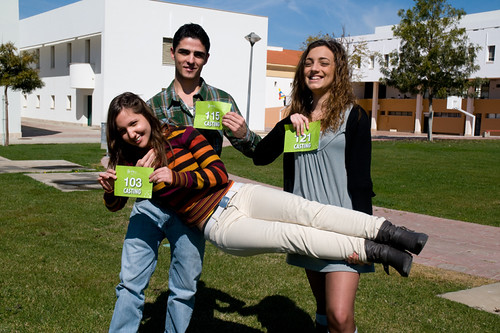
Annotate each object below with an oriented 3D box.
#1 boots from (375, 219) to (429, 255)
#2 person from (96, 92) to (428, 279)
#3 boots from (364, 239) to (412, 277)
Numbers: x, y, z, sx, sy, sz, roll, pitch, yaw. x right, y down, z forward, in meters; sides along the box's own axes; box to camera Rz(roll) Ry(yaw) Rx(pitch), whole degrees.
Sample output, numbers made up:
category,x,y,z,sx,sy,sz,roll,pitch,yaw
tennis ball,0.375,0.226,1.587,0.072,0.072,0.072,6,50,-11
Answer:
category,x,y,z,sx,sy,sz,roll,pitch,yaw
boots,1.081,0.473,2.402,0.232,0.136,0.273,6,6,-46
person,0.068,0.229,2.755,2.640,1.219,0.804,11,28,7
boots,0.968,0.641,2.395,0.264,0.265,0.131,14,-2,21
